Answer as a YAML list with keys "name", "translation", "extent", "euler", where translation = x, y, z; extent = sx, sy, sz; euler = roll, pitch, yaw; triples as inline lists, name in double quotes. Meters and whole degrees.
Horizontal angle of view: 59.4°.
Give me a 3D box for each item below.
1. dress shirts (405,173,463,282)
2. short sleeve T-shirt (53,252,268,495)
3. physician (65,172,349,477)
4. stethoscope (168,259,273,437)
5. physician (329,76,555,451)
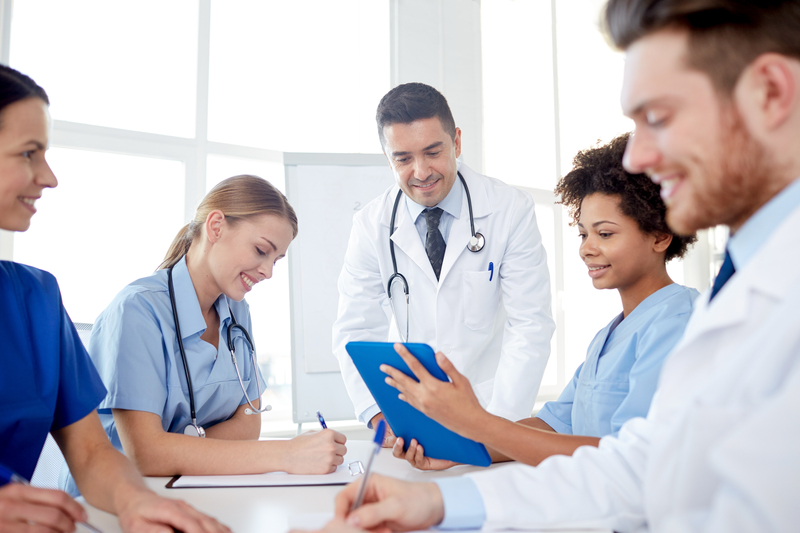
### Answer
- name: "dress shirts"
  translation: [0.153, -0.140, 2.705]
  extent: [0.213, 0.395, 0.076]
  euler: [-10, -6, 14]
- name: "short sleeve T-shirt"
  translation: [-0.717, 0.333, 2.105]
  extent: [0.377, 0.706, 0.741]
  euler: [-9, -16, 29]
- name: "physician"
  translation: [-0.410, 0.317, 2.450]
  extent: [0.878, 0.969, 0.795]
  euler: [-5, -23, 11]
- name: "stethoscope"
  translation: [-0.592, 0.301, 2.254]
  extent: [0.338, 0.555, 0.108]
  euler: [-2, -18, -41]
- name: "physician"
  translation: [0.153, 0.081, 2.717]
  extent: [0.818, 1.515, 0.755]
  euler: [2, 17, 25]
